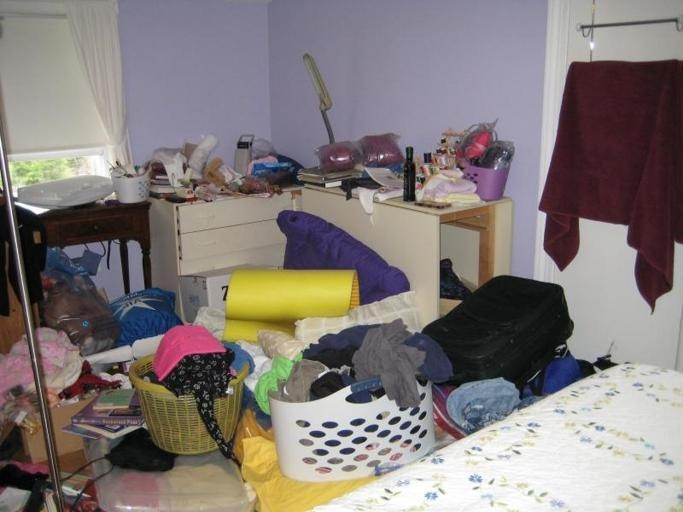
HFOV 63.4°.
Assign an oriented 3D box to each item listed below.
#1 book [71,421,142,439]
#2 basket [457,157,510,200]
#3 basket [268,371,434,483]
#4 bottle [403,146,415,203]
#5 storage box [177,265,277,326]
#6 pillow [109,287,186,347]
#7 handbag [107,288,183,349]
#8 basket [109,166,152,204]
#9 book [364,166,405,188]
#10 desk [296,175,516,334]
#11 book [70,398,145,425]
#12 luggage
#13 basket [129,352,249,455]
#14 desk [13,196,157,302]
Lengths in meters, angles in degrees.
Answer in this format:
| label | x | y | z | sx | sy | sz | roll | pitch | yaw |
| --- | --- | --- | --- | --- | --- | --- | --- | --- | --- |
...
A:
| label | x | y | z | sx | sy | sz | roll | pitch | yaw |
| --- | --- | --- | --- | --- | --- | --- | --- | --- | --- |
| book | -1.120 | 0.815 | 2.571 | 0.141 | 0.032 | 0.148 | 1 | -2 | 13 |
| basket | 0.752 | -0.448 | 3.057 | 0.266 | 0.250 | 0.336 | -6 | 17 | -36 |
| basket | 0.120 | 0.745 | 2.395 | 0.534 | 0.369 | 0.277 | -1 | -2 | -8 |
| bottle | 0.372 | -0.462 | 3.043 | 0.068 | 0.293 | 0.207 | -1 | 17 | 8 |
| storage box | -0.907 | 0.261 | 3.896 | 0.255 | 0.278 | 0.509 | 5 | 8 | 18 |
| pillow | -1.169 | 0.349 | 3.509 | 0.443 | 0.088 | 0.469 | 10 | 26 | -27 |
| handbag | -1.250 | 0.338 | 3.468 | 0.348 | 0.084 | 0.378 | -5 | 41 | -27 |
| basket | -1.404 | -0.480 | 3.676 | 0.256 | 0.248 | 0.205 | -11 | 19 | -40 |
| book | 0.259 | -0.444 | 3.236 | 0.153 | 0.053 | 0.154 | -7 | 34 | -36 |
| desk | 0.395 | 0.025 | 3.273 | 0.666 | 0.970 | 1.282 | -9 | 15 | -37 |
| book | -1.103 | 0.747 | 2.637 | 0.174 | 0.039 | 0.177 | 2 | 6 | 4 |
| luggage | 0.752 | 0.335 | 2.631 | 0.622 | 0.258 | 0.482 | -29 | 27 | -20 |
| basket | -0.693 | 0.713 | 2.600 | 0.414 | 0.295 | 0.419 | 1 | 17 | 3 |
| desk | -1.728 | -0.003 | 3.837 | 0.690 | 0.700 | 0.494 | -8 | 12 | -36 |
